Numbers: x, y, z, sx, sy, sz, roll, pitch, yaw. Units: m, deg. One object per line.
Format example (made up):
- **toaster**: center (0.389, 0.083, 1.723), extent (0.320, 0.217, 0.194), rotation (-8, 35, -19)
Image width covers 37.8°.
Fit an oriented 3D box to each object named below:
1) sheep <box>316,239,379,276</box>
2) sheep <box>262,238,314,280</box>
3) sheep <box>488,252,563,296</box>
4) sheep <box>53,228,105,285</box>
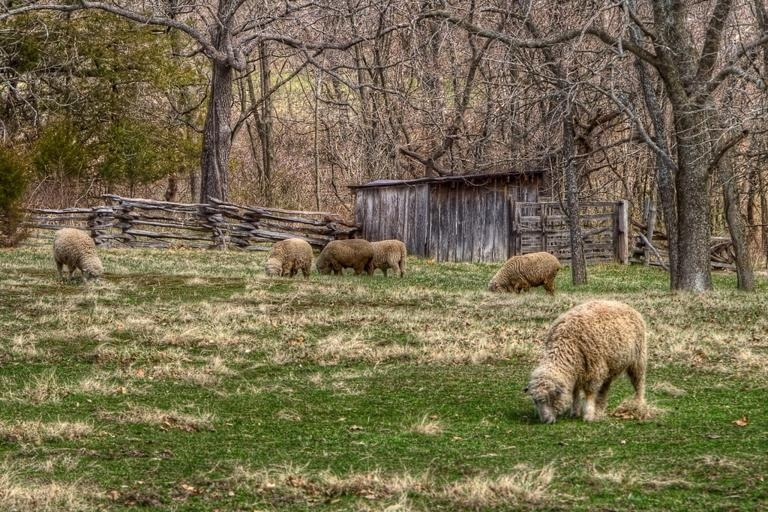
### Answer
- **sheep**: center (-1.415, 0.084, 41.501), extent (2.273, 1.537, 1.051), rotation (1, 3, 9)
- **sheep**: center (-3.185, 0.096, 40.433), extent (0.803, 1.528, 2.458), rotation (-1, 1, 41)
- **sheep**: center (4.801, 0.838, 38.934), extent (2.715, 1.649, 0.991), rotation (-11, 9, -19)
- **sheep**: center (-9.928, -0.077, 36.101), extent (1.249, 1.672, 1.771), rotation (4, -2, -41)
